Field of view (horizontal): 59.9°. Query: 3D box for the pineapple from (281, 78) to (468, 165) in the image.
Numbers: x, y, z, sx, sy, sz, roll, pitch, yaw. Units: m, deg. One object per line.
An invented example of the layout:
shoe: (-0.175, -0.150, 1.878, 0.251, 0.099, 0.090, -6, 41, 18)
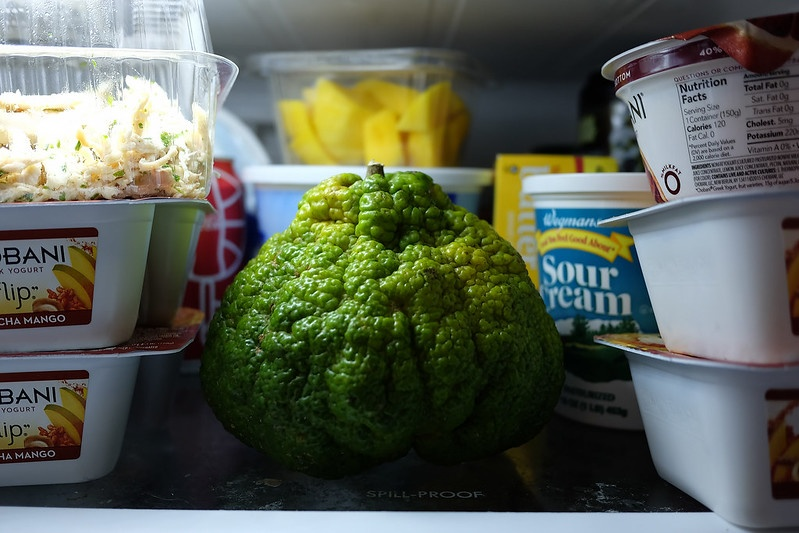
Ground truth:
pineapple: (-0.043, -0.211, 1.170, 0.214, 0.085, 0.179, 0, 4, 30)
